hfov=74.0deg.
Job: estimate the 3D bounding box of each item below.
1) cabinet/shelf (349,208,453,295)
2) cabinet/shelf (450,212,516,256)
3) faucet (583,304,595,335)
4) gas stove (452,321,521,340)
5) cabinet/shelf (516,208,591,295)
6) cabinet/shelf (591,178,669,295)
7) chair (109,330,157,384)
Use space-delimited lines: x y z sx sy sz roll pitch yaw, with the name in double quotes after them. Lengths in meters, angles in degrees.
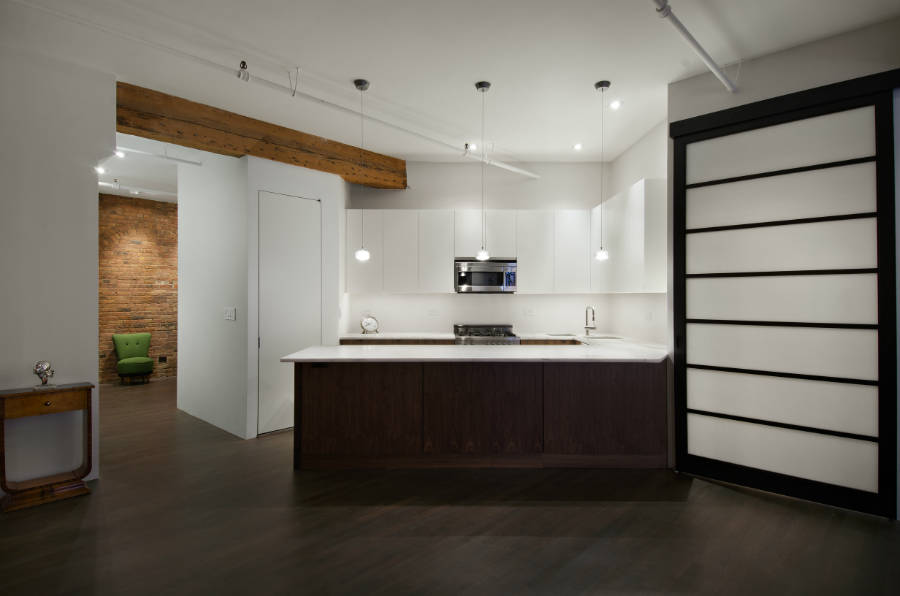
-0.687 -0.662 8.194 1.077 0.927 0.383 0 3 0 "cabinet/shelf"
0.590 -0.913 8.434 0.962 0.730 0.514 2 7 27 "cabinet/shelf"
1.968 0.313 8.371 0.163 0.361 0.259 -2 1 9 "faucet"
0.488 0.463 8.247 0.878 0.194 0.609 -2 1 1 "gas stove"
1.428 -0.635 8.149 1.070 1.242 0.397 0 -2 1 "cabinet/shelf"
2.169 -0.688 7.150 0.477 1.331 1.495 0 -2 -4 "cabinet/shelf"
-5.107 0.968 9.633 0.576 0.739 0.601 -1 2 -31 "chair"
